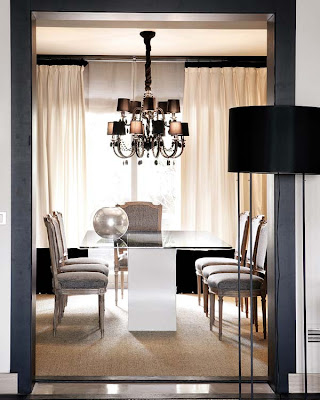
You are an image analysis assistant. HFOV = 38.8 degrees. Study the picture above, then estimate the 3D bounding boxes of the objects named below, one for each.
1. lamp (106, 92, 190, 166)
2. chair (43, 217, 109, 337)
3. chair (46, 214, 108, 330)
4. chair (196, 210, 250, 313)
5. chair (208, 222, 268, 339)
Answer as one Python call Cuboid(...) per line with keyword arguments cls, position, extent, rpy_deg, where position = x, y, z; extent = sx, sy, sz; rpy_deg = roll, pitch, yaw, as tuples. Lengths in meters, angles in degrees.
Cuboid(cls="lamp", position=(-0.097, -0.763, 4.064), extent=(0.597, 1.057, 0.654), rpy_deg=(3, 3, 31))
Cuboid(cls="chair", position=(-0.735, 0.652, 4.106), extent=(0.400, 1.151, 1.155), rpy_deg=(-6, 1, -7))
Cuboid(cls="chair", position=(-0.755, 0.624, 4.107), extent=(0.356, 1.044, 1.009), rpy_deg=(-3, 2, -11))
Cuboid(cls="chair", position=(0.641, 0.626, 4.199), extent=(0.417, 1.106, 0.434), rpy_deg=(-8, 12, -20))
Cuboid(cls="chair", position=(0.664, 0.642, 3.779), extent=(0.403, 1.129, 0.490), rpy_deg=(6, 1, -2))
